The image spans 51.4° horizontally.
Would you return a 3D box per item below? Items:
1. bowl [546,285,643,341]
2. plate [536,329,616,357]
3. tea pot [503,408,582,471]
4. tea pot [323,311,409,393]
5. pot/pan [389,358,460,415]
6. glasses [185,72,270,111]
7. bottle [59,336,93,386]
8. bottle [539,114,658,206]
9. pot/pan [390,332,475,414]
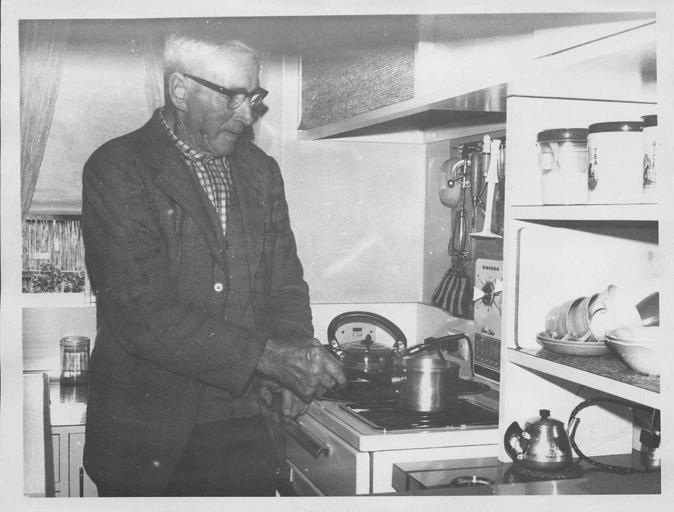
[{"bbox_3d":[0.578,0.139,1.611,0.162,0.160,0.135,-4,-31,26],"label":"bowl"},{"bbox_3d":[0.538,0.206,1.624,0.168,0.046,0.074,2,3,41],"label":"plate"},{"bbox_3d":[0.494,0.441,1.684,0.187,0.126,0.131,1,-2,-11],"label":"tea pot"},{"bbox_3d":[0.079,0.267,1.948,0.172,0.138,0.188,0,6,0],"label":"tea pot"},{"bbox_3d":[0.249,0.344,1.925,0.215,0.159,0.215,-2,-9,18],"label":"pot/pan"},{"bbox_3d":[-0.270,-0.427,1.824,0.119,0.034,0.115,32,17,22],"label":"glasses"},{"bbox_3d":[-0.673,0.261,1.821,0.075,0.115,0.073,6,21,-2],"label":"bottle"},{"bbox_3d":[0.597,-0.167,1.569,0.294,0.194,0.185,-3,-2,44],"label":"bottle"},{"bbox_3d":[0.267,0.312,1.879,0.211,0.179,0.157,-1,2,23],"label":"pot/pan"}]
